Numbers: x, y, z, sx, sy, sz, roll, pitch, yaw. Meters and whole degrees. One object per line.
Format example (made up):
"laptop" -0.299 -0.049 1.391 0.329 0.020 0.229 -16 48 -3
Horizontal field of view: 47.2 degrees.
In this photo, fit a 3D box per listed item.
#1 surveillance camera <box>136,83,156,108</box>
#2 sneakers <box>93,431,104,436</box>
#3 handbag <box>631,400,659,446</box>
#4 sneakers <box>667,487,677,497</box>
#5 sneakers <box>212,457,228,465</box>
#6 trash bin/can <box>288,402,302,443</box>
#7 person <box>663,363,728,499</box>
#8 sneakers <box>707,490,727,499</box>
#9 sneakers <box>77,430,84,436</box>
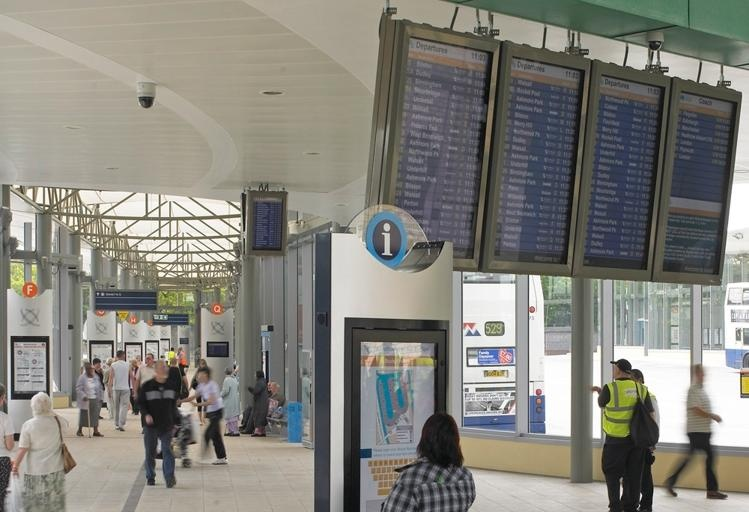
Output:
"surveillance camera" -3.213 -2.204 11.992 0.305 0.406 0.298 0 -2 -3
"sneakers" -7.006 4.411 21.383 0.321 0.148 0.101 9 -2 -29
"handbag" 3.746 2.314 11.890 0.384 0.645 0.277 5 -7 -39
"sneakers" 4.905 3.865 14.114 0.066 0.161 0.161 0 -34 -20
"sneakers" -3.150 4.087 17.212 0.341 0.153 0.126 4 -3 -8
"trash bin/can" -1.915 3.864 20.048 0.323 0.954 0.798 1 -6 -6
"person" 5.223 2.847 13.965 0.935 2.125 0.698 0 -6 5
"sneakers" 5.592 3.844 13.967 0.358 0.163 0.124 0 -2 3
"sneakers" -7.461 4.409 21.462 0.096 0.132 0.306 13 -16 -16
